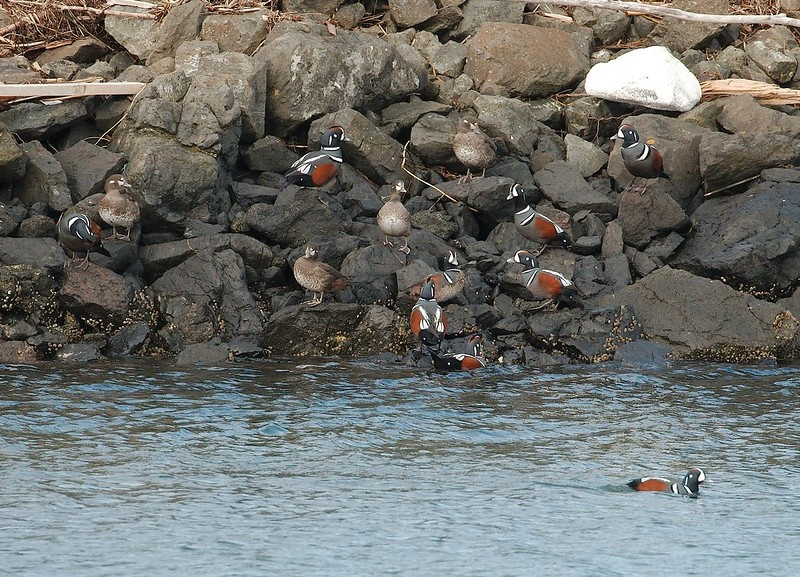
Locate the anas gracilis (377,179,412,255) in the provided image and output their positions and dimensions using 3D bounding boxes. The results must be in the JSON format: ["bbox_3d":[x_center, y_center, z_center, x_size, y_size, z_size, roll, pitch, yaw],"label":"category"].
[{"bbox_3d":[-0.110,-1.187,24.745,0.550,1.147,0.884,-1,33,0],"label":"anas gracilis"}]

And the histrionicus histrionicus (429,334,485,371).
[{"bbox_3d":[0.944,1.085,22.893,0.848,0.337,0.579,-7,31,-10],"label":"histrionicus histrionicus"}]

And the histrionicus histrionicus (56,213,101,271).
[{"bbox_3d":[-5.355,-0.825,23.703,0.734,1.030,0.595,27,43,37],"label":"histrionicus histrionicus"}]

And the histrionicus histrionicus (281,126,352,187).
[{"bbox_3d":[-1.463,-2.149,25.144,0.653,1.083,1.231,13,34,20],"label":"histrionicus histrionicus"}]

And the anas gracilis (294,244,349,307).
[{"bbox_3d":[-1.401,-0.151,23.628,0.817,0.977,0.708,11,35,19],"label":"anas gracilis"}]

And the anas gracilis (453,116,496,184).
[{"bbox_3d":[1.373,-2.546,26.347,0.783,1.174,0.704,-1,33,1],"label":"anas gracilis"}]
